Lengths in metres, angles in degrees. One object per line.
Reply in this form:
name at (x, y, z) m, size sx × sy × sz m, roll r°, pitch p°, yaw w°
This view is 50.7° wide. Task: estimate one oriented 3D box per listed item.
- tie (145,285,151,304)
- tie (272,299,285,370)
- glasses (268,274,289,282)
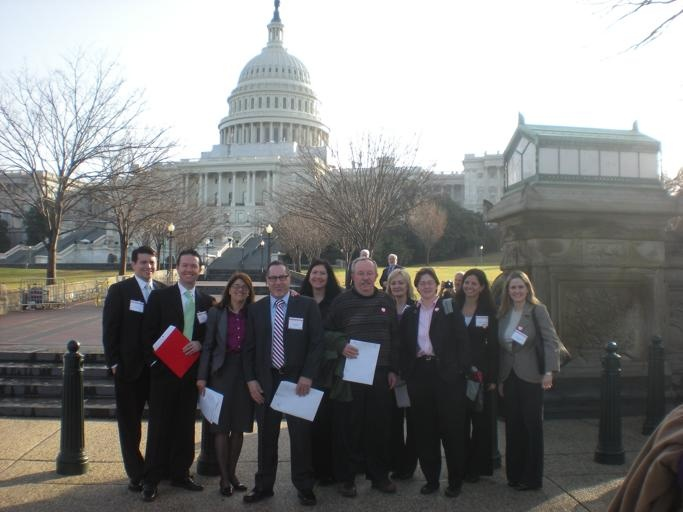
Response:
tie at (-2.423, 0.479, 9.047) m, size 0.055 × 0.173 × 0.123 m, roll 7°, pitch 7°, yaw -38°
tie at (-0.745, 0.912, 8.520) m, size 0.158 × 0.806 × 0.170 m, roll 0°, pitch -1°, yaw -4°
glasses at (-0.757, 0.251, 8.590) m, size 0.231 × 0.073 × 0.118 m, roll 1°, pitch -1°, yaw -6°
